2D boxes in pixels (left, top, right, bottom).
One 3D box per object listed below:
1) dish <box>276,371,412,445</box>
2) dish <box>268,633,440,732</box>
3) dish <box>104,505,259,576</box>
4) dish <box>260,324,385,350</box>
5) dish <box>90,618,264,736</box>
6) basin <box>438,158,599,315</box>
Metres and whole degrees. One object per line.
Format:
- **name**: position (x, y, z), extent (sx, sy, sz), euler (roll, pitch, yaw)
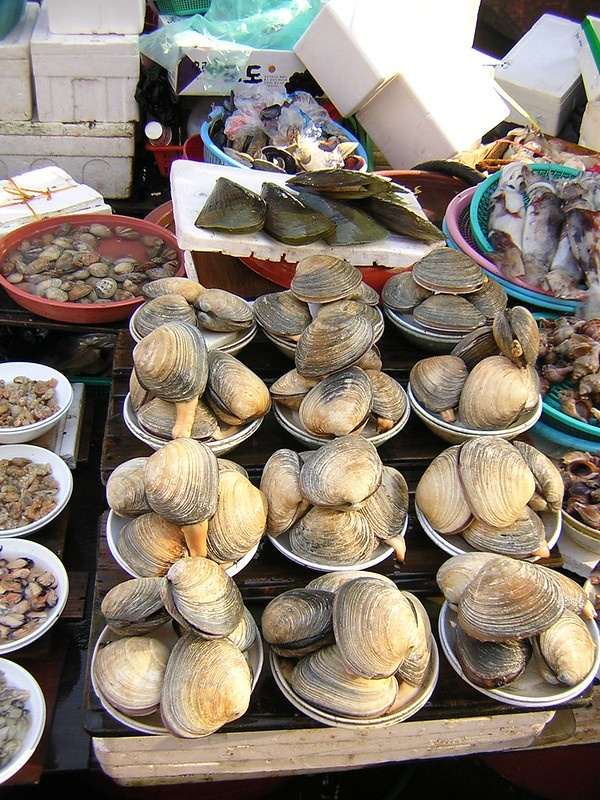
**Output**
- **dish**: position (0.095, 0.044, 1.273), extent (0.194, 0.042, 0.177), euler (-19, 44, -16)
- **dish**: position (0.101, 0.459, 1.024), extent (0.298, 0.138, 0.138), euler (6, 32, -11)
- **dish**: position (-0.185, 0.245, 1.125), extent (0.215, 0.046, 0.206), euler (21, -12, -6)
- **dish**: position (0.033, -0.134, 1.391), extent (0.126, 0.036, 0.115), euler (-4, 18, -9)
- **dish**: position (-0.194, 0.431, 0.999), extent (0.265, 0.123, 0.143), euler (8, 32, -9)
- **basin**: position (0.605, -0.543, 2.053), extent (0.588, 0.160, 0.537), euler (2, 56, -3)
